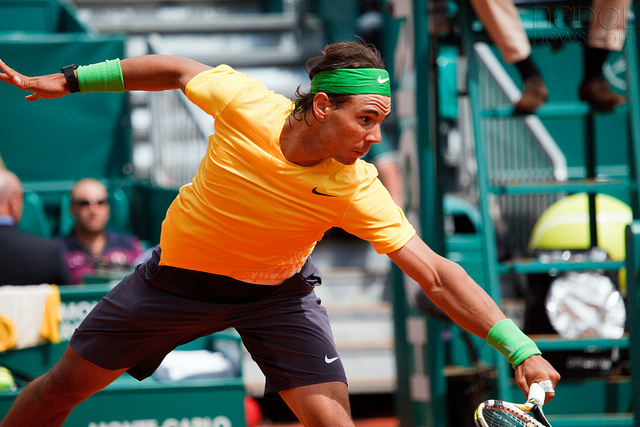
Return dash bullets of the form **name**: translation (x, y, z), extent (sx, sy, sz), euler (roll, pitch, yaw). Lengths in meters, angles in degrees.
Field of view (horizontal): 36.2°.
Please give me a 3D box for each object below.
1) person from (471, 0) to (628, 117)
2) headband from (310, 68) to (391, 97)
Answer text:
- **person**: translation (1.910, -1.317, 8.309), extent (1.011, 0.828, 0.376), euler (-4, -4, 7)
- **headband**: translation (0.199, -0.911, 6.806), extent (0.557, 0.200, 0.151), euler (4, 18, 5)
